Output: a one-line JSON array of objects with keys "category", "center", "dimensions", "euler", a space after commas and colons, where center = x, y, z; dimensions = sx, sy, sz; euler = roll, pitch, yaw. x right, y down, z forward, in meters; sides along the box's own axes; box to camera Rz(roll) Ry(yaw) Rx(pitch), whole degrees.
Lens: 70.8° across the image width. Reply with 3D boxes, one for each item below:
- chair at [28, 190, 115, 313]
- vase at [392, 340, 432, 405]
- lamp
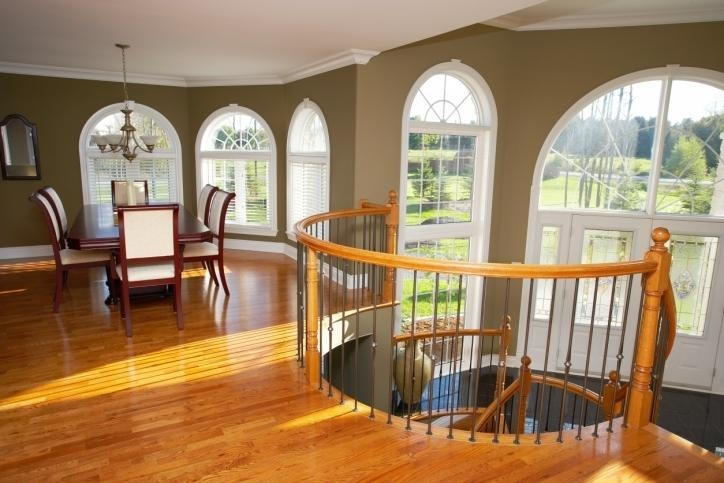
[{"category": "chair", "center": [-3.626, 0.067, 6.541], "dimensions": [1.095, 1.331, 1.119], "euler": [8, 13, 29]}, {"category": "vase", "center": [0.747, 1.801, 7.484], "dimensions": [0.633, 0.949, 0.612], "euler": [2, 2, -34]}, {"category": "lamp", "center": [-3.318, -1.957, 7.184], "dimensions": [0.878, 1.551, 0.842], "euler": [-2, 12, -22]}]
